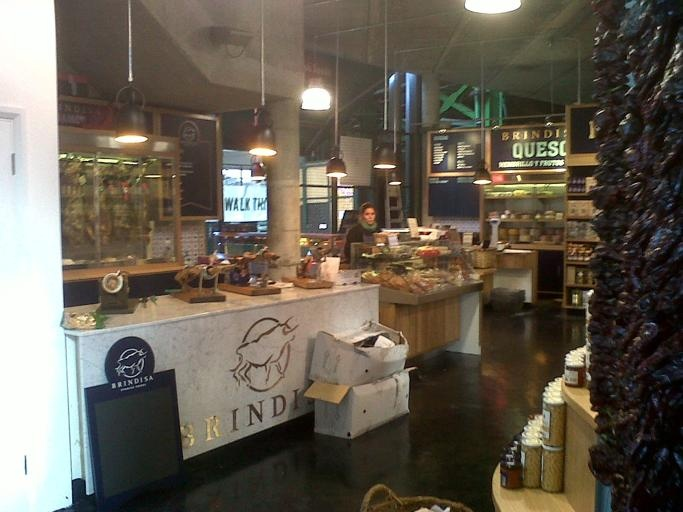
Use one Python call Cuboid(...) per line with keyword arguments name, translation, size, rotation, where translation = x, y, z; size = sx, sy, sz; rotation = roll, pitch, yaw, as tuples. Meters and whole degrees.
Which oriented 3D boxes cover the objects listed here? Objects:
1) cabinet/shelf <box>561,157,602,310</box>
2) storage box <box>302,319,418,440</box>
Cuboid(name="cabinet/shelf", translation=(3.974, -0.393, 9.054), size=(0.504, 2.526, 0.733), rotation=(1, 6, 13))
Cuboid(name="storage box", translation=(0.165, 0.922, 4.601), size=(0.713, 0.952, 1.407), rotation=(0, 1, 36))
